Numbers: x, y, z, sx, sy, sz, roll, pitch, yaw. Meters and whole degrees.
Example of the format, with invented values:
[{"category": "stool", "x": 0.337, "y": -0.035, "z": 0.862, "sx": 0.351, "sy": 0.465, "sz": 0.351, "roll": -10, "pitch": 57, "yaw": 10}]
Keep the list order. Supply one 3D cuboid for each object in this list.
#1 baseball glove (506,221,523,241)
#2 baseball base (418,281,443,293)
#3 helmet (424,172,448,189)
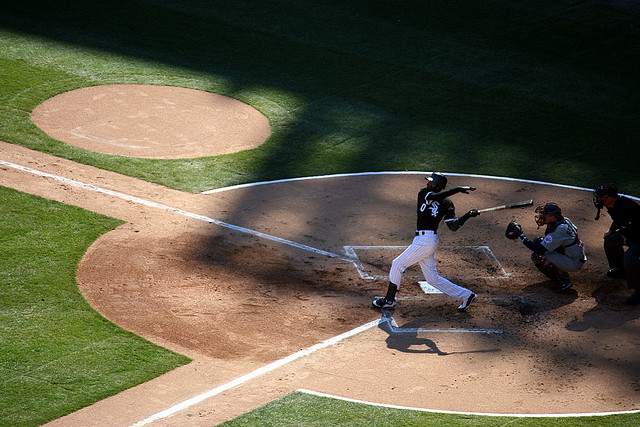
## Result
[{"category": "baseball glove", "x": 4.754, "y": 0.423, "z": 22.626, "sx": 0.425, "sy": 0.438, "sz": 0.397, "roll": 23, "pitch": 25, "yaw": 4}, {"category": "baseball base", "x": 2.749, "y": 1.823, "z": 22.825, "sx": 0.520, "sy": 0.011, "sz": 0.348, "roll": 0, "pitch": 26, "yaw": -10}, {"category": "helmet", "x": 2.855, "y": -0.786, "z": 22.283, "sx": 0.504, "sy": 0.391, "sz": 0.471, "roll": 19, "pitch": 23, "yaw": 4}]
